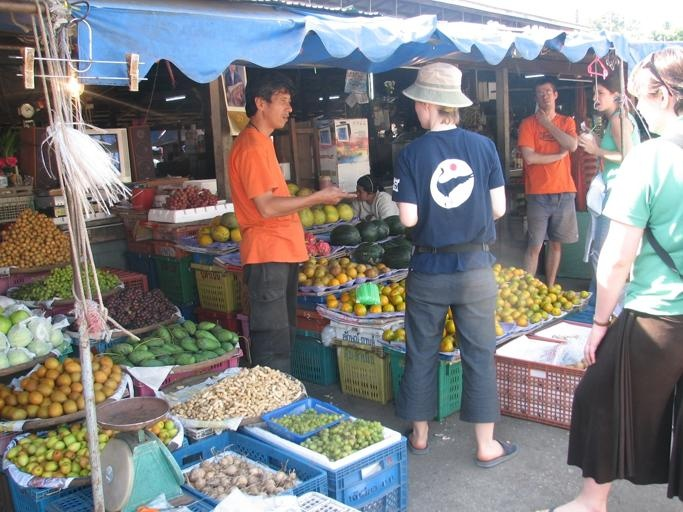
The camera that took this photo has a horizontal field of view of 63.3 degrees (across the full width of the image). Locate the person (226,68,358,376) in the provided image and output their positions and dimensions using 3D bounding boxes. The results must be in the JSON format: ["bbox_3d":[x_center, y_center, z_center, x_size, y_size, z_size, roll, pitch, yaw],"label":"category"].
[{"bbox_3d":[-0.398,-0.099,4.257,0.876,2.478,0.908,-1,7,-5],"label":"person"}]

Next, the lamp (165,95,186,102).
[{"bbox_3d":[-4.137,-3.911,13.843,0.454,0.132,1.387,-5,16,-17],"label":"lamp"}]

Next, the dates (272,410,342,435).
[{"bbox_3d":[-0.188,0.847,3.001,0.266,0.083,0.219,-6,12,-37],"label":"dates"}]

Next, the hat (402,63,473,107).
[{"bbox_3d":[0.609,-1.085,3.547,0.414,0.281,0.258,1,15,5],"label":"hat"}]

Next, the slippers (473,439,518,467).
[{"bbox_3d":[1.063,1.350,3.805,0.273,0.093,0.135,-16,17,-33],"label":"slippers"}]

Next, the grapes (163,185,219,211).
[{"bbox_3d":[-1.629,-0.615,6.033,0.434,0.188,0.295,-4,5,-40],"label":"grapes"}]

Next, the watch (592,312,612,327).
[{"bbox_3d":[1.318,0.331,2.809,0.071,0.033,0.093,-1,8,13],"label":"watch"}]

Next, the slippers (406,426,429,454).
[{"bbox_3d":[0.542,1.335,3.945,0.135,0.108,0.366,-3,4,1],"label":"slippers"}]

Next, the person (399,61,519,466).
[{"bbox_3d":[0.707,-0.002,3.959,0.879,2.496,0.934,5,9,44],"label":"person"}]

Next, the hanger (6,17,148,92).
[{"bbox_3d":[-1.082,-0.886,2.393,0.397,0.338,0.916,-5,16,-16],"label":"hanger"}]

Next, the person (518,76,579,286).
[{"bbox_3d":[2.456,-0.757,6.584,0.775,2.549,0.695,-2,9,-7],"label":"person"}]
